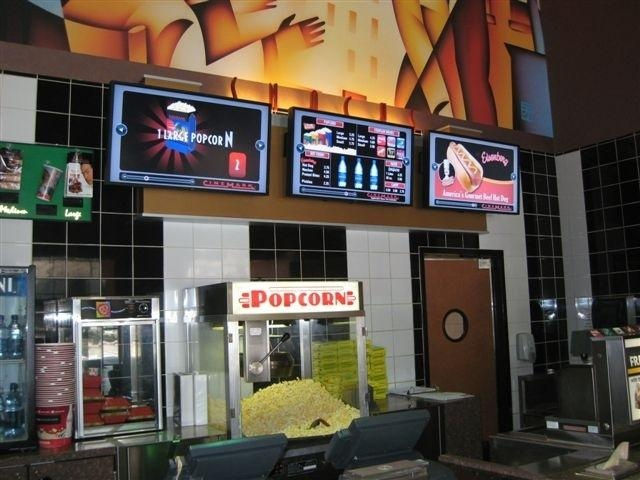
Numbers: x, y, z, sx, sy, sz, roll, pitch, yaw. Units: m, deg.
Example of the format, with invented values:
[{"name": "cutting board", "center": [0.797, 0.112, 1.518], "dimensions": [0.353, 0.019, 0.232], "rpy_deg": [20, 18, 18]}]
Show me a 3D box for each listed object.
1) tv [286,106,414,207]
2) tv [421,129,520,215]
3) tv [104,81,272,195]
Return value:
[{"name": "tv", "center": [0.251, -0.771, 5.233], "dimensions": [0.988, 0.609, 0.099], "rpy_deg": [-2, 4, -29]}, {"name": "tv", "center": [1.578, -0.727, 5.909], "dimensions": [0.925, 0.584, 0.090], "rpy_deg": [2, -2, -24]}, {"name": "tv", "center": [-1.156, -0.837, 4.584], "dimensions": [0.976, 0.589, 0.046], "rpy_deg": [4, -7, -27]}]
